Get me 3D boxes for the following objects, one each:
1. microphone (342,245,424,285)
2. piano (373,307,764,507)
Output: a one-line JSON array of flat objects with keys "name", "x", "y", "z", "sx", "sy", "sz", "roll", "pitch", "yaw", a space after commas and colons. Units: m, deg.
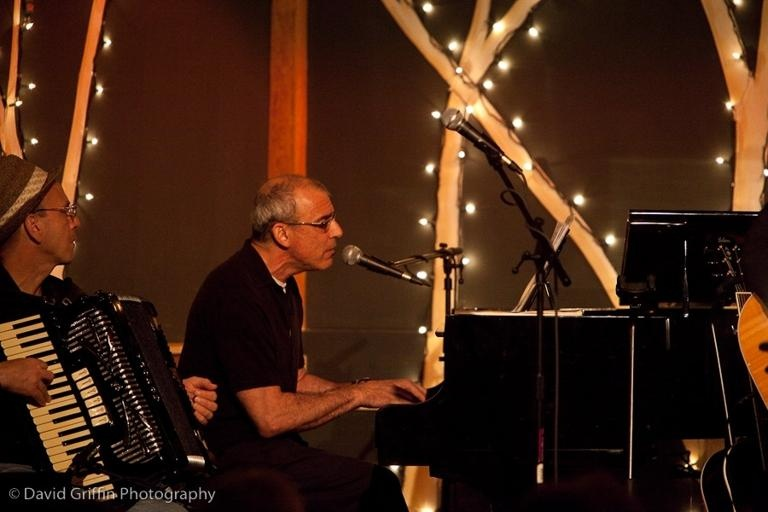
[{"name": "microphone", "x": 0.020, "y": 0.051, "z": 5.565, "sx": 0.461, "sy": 0.108, "sz": 0.107, "roll": 23, "pitch": 18, "yaw": -15}, {"name": "piano", "x": 1.117, "y": 0.808, "z": 5.006, "sx": 1.674, "sy": 0.941, "sz": 1.243, "roll": 0, "pitch": -9, "yaw": 2}]
